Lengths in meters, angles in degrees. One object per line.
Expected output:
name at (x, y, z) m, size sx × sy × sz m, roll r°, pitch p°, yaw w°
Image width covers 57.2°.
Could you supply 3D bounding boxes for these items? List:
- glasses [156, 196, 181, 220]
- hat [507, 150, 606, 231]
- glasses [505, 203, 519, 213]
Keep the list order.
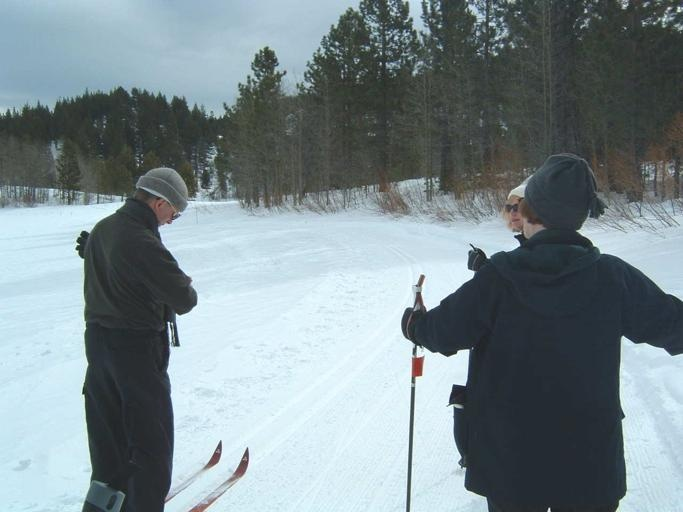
glasses at (-1.886, -0.484, 6.832) m, size 0.059 × 0.224 × 0.200 m, roll -32°, pitch -11°, yaw 14°
hat at (2.086, -0.674, 6.045) m, size 0.537 × 0.669 × 0.787 m, roll 8°, pitch 35°, yaw -29°
glasses at (1.811, -0.496, 6.646) m, size 0.129 × 0.045 × 0.118 m, roll 45°, pitch -20°, yaw -15°
